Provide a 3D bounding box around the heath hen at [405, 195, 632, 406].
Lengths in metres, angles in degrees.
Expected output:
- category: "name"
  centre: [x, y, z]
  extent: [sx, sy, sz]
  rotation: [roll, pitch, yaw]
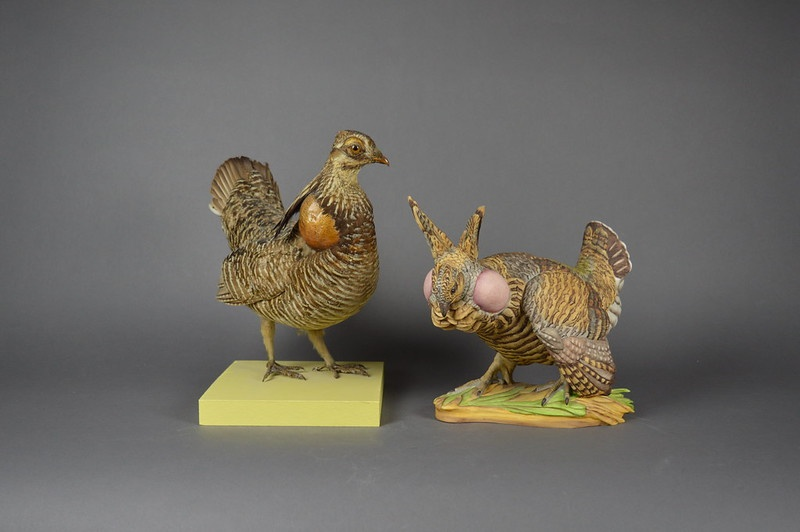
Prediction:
- category: "heath hen"
  centre: [0.679, 0.112, 4.786]
  extent: [0.885, 1.051, 1.355]
  rotation: [8, 16, 41]
